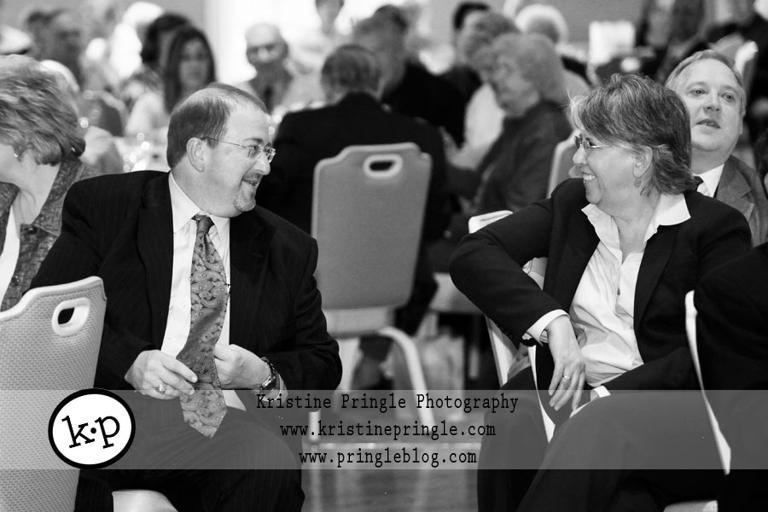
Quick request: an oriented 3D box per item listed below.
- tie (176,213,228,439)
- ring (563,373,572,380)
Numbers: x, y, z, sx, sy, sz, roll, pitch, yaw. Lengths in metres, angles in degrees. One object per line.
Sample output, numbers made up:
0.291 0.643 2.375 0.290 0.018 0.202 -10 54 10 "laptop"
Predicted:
-0.490 0.181 2.758 0.136 0.570 0.188 -1 8 -4 "tie"
0.491 0.321 2.776 0.019 0.019 0.017 -13 16 4 "ring"
